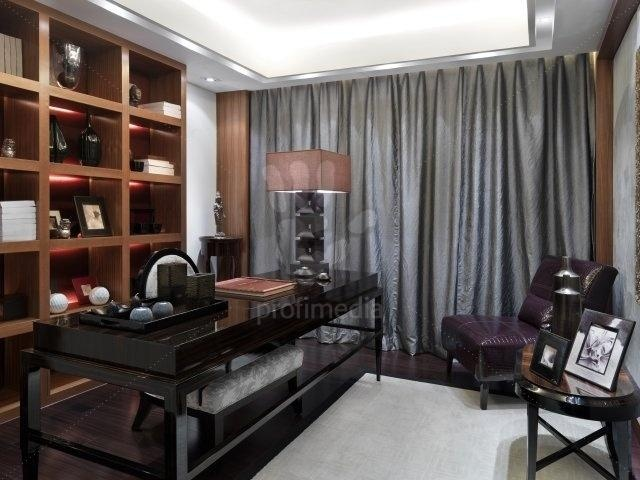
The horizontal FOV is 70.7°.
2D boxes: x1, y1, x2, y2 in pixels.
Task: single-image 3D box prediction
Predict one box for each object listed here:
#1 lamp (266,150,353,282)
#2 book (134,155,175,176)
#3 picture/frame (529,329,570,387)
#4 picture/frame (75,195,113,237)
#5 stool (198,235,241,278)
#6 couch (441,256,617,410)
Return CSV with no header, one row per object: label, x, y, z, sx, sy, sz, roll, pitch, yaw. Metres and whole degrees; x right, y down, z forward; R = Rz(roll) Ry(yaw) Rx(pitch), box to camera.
lamp,-0.104,-0.216,3.523,0.608,0.947,0.710,1,8,7
book,-1.465,-0.653,3.971,0.172,0.123,0.252,2,1,36
picture/frame,1.207,0.623,2.347,0.032,0.336,0.262,14,-4,-20
picture/frame,-1.833,-0.184,3.622,0.030,0.416,0.337,-16,-6,27
stool,-1.043,0.210,4.639,0.407,0.469,0.401,4,7,17
couch,1.584,0.676,3.642,1.237,0.973,1.291,-1,1,-24
